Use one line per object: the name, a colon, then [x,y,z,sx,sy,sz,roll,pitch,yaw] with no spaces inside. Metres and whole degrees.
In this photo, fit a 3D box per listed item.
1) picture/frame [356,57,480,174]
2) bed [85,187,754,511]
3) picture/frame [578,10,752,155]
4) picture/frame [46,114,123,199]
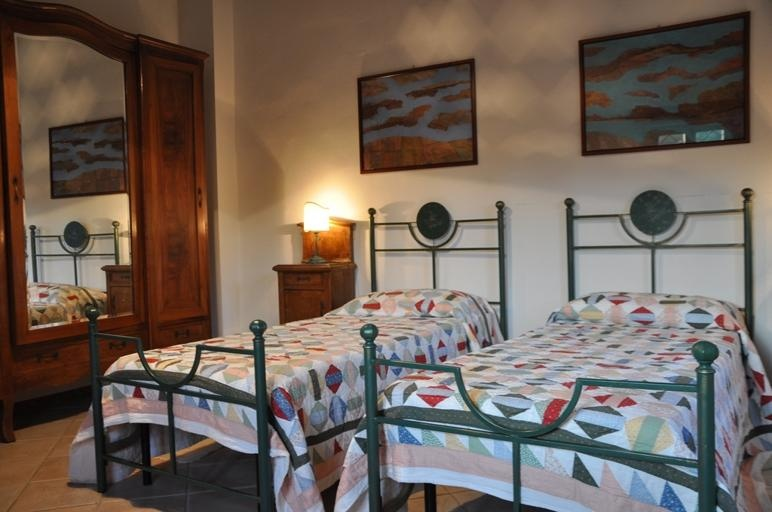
picture/frame: [0.293,-1.129,4.687,1.077,0.806,0.037,1,7,24]
bed: [0.144,0.279,2.654,1.648,0.973,1.658,-1,-1,39]
picture/frame: [1.959,-1.193,4.014,1.157,0.827,0.040,-1,0,21]
picture/frame: [-2.204,-0.713,4.212,0.637,0.574,0.061,-9,11,-40]
